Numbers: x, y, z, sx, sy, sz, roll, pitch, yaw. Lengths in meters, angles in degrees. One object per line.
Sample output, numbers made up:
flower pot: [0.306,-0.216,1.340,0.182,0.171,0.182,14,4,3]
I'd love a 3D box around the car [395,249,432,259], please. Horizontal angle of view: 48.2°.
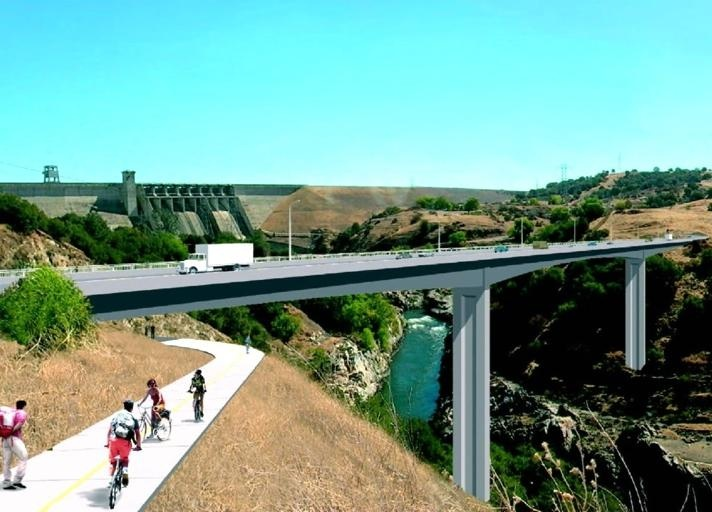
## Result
car: [5.611,-0.120,76.565,3.494,0.848,1.028,-1,0,-9]

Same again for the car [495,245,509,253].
car: [14.880,-0.617,80.254,1.613,0.886,1.094,-2,4,-8]
